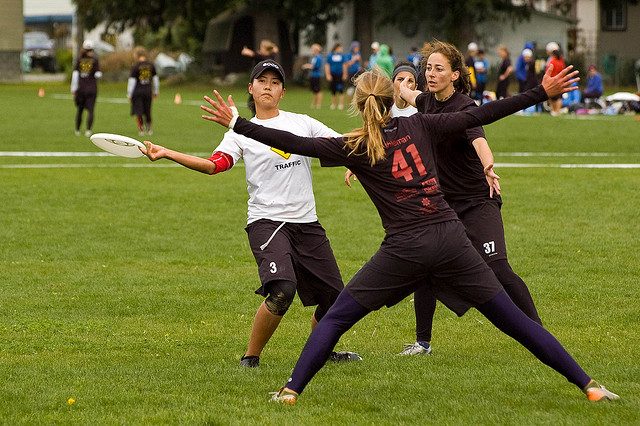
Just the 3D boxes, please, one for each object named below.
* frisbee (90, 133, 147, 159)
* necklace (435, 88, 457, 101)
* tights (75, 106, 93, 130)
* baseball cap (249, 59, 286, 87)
[{"bbox_3d":[-2.000,-0.670,9.417,0.615,0.220,0.317,3,8,5],"label":"frisbee"},{"bbox_3d":[1.331,-1.228,9.781,0.136,0.034,0.147,-29,-8,29],"label":"necklace"},{"bbox_3d":[-5.443,-2.182,21.570,0.365,0.561,0.712,0,9,-15],"label":"tights"},{"bbox_3d":[-0.550,-1.476,9.796,0.346,0.242,0.417,2,9,-6],"label":"baseball cap"}]
